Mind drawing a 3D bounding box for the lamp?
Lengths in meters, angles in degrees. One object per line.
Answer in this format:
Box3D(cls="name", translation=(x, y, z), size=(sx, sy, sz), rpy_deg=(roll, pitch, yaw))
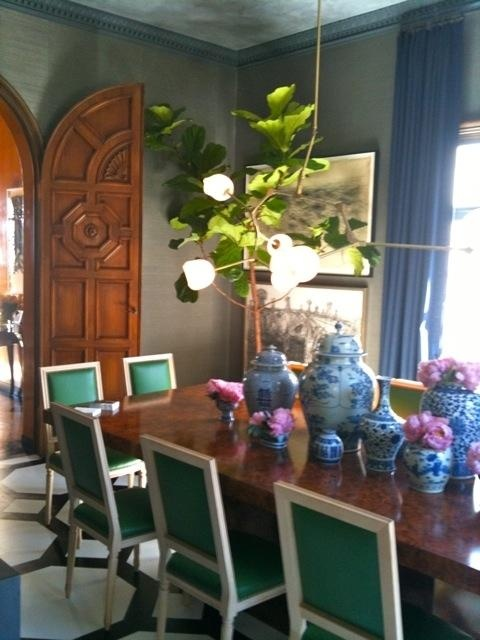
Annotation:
Box3D(cls="lamp", translation=(0.072, -0.283, 1.952), size=(0.311, 0.098, 0.304), rpy_deg=(-7, -29, 32))
